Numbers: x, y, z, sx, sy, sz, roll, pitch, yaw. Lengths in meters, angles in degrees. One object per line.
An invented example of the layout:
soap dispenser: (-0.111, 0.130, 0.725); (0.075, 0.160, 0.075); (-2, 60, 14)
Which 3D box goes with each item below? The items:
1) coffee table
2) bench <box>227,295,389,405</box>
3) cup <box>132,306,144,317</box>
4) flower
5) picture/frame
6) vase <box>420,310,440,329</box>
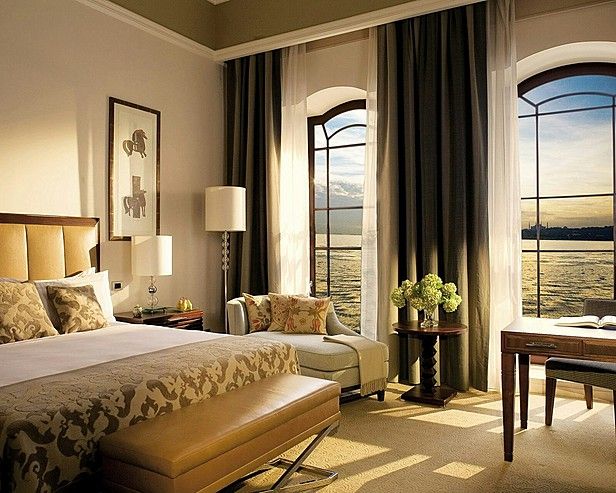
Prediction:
coffee table: (1.224, 1.136, 4.356); (0.699, 0.784, 0.740); (-1, 0, 26)
bench: (-0.033, 0.961, 4.363); (1.413, 0.889, 0.865); (-6, -8, 41)
cup: (-1.814, 0.704, 4.625); (0.107, 0.138, 0.107); (0, -5, 0)
flower: (1.199, 0.387, 4.245); (0.524, 0.398, 0.528); (-3, 0, -35)
picture/frame: (-1.958, -0.806, 4.904); (0.058, 1.603, 0.727); (8, 8, 30)
vase: (1.226, 0.711, 4.285); (0.184, 0.183, 0.187); (1, -4, -22)
